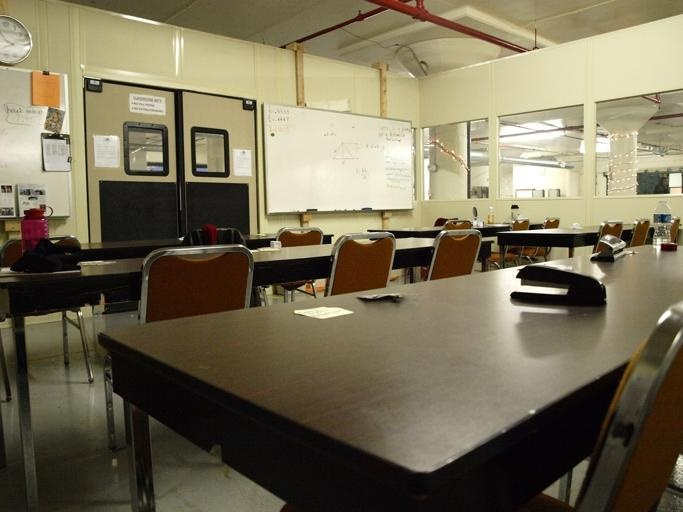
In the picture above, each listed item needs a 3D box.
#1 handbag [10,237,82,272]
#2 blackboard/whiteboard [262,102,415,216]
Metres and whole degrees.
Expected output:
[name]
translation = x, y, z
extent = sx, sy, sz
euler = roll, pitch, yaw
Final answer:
[handbag]
translation = -1.136, -0.016, 1.997
extent = 0.218, 0.110, 0.414
euler = -2, 6, -14
[blackboard/whiteboard]
translation = -0.032, -1.256, 6.742
extent = 2.317, 1.331, 0.133
euler = -6, 8, -41
